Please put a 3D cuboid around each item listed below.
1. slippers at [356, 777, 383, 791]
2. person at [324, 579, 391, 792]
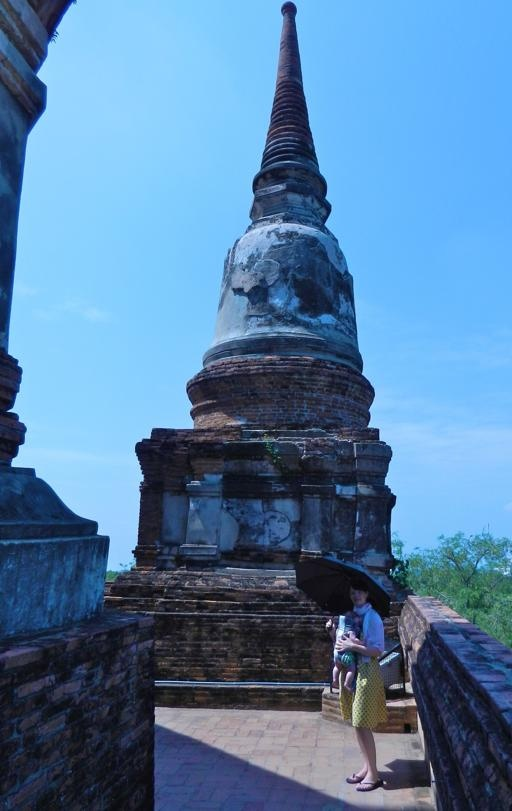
[{"bbox_3d":[0.691,2.298,3.570,0.149,0.041,0.067,17,-24,-24],"label":"slippers"},{"bbox_3d":[0.660,1.761,3.718,0.363,1.217,0.447,-2,-13,3],"label":"person"}]
